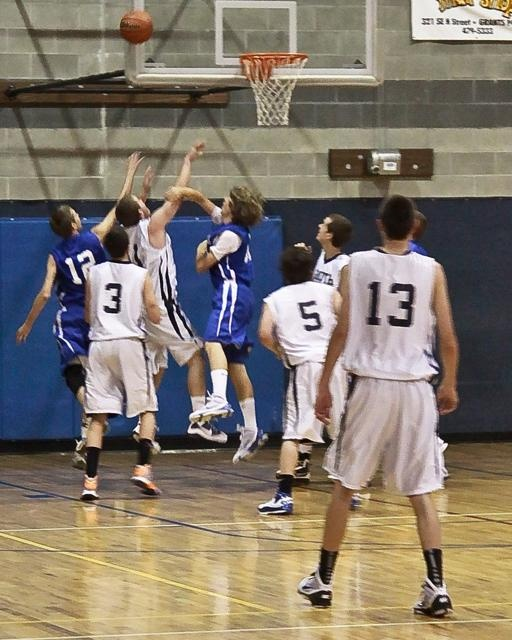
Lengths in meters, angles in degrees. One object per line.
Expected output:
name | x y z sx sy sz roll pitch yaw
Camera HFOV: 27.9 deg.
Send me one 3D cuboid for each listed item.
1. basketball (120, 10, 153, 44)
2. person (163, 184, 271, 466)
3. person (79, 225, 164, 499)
basketball | -0.837 -2.032 7.193 0.237 0.249 0.227 -4 8 -18
person | -0.284 0.071 7.244 0.914 0.960 2.417 0 50 3
person | -0.833 0.278 6.005 0.611 1.624 0.512 -9 16 -13
